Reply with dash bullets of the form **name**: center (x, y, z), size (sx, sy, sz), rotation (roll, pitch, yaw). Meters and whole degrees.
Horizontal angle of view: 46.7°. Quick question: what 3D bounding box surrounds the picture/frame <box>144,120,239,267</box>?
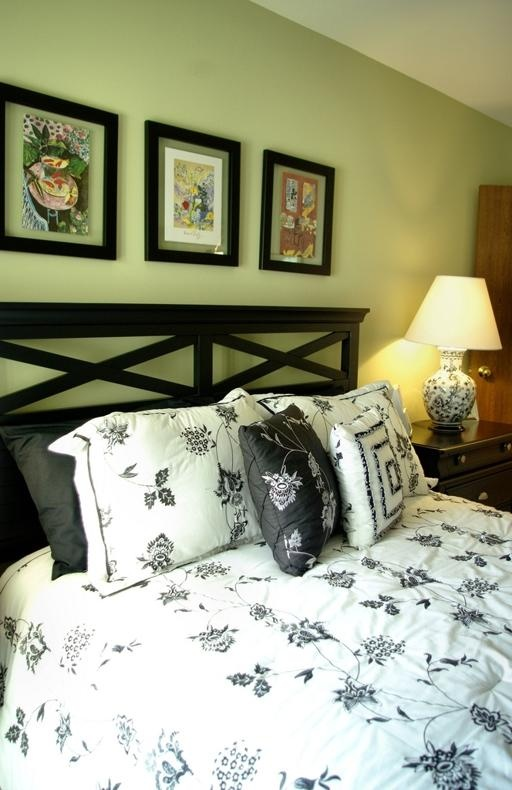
- **picture/frame**: center (-0.234, -0.697, 2.018), size (0.521, 0.570, 0.038), rotation (-6, 11, -44)

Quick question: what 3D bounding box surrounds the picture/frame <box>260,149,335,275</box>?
- **picture/frame**: center (0.169, -0.724, 2.407), size (0.408, 0.445, 0.041), rotation (-6, 9, -43)
